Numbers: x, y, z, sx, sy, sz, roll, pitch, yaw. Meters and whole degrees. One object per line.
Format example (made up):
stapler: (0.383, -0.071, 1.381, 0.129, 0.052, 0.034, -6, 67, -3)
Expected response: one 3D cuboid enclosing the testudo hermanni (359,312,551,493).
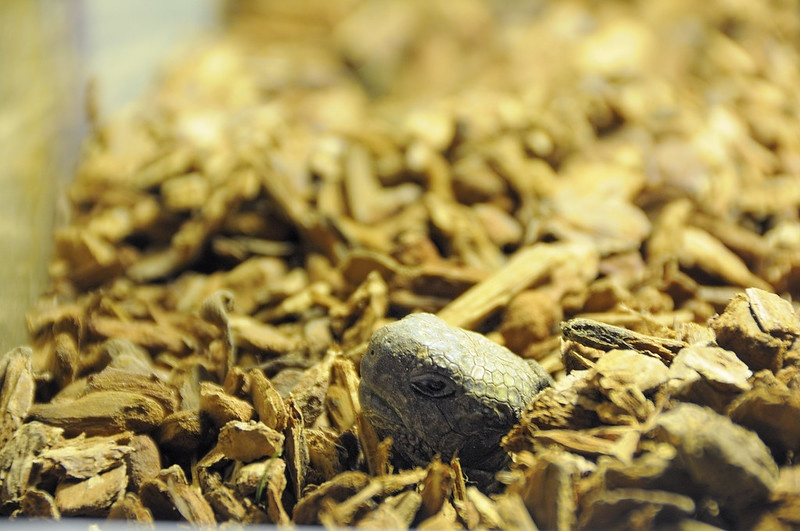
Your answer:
testudo hermanni: (0.126, 0.308, 2.400, 0.497, 0.320, 0.349, 10, 25, -20)
